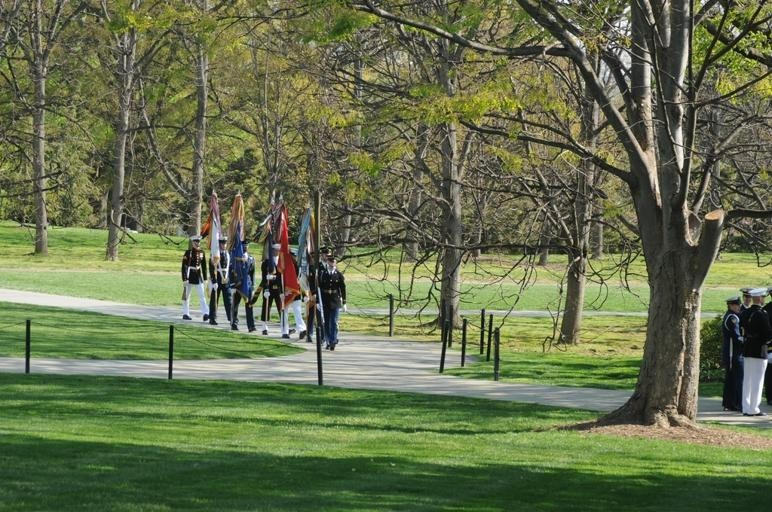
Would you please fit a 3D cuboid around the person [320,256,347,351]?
[{"bbox_3d":[-1.600,1.344,52.047,1.180,2.732,0.952,3,-5,-29],"label":"person"}]

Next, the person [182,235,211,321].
[{"bbox_3d":[-6.018,0.701,55.248,1.142,2.586,0.894,0,-1,-1],"label":"person"}]

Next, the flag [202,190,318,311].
[{"bbox_3d":[-3.480,-0.263,53.615,2.009,4.290,2.226,0,0,-24],"label":"flag"}]
